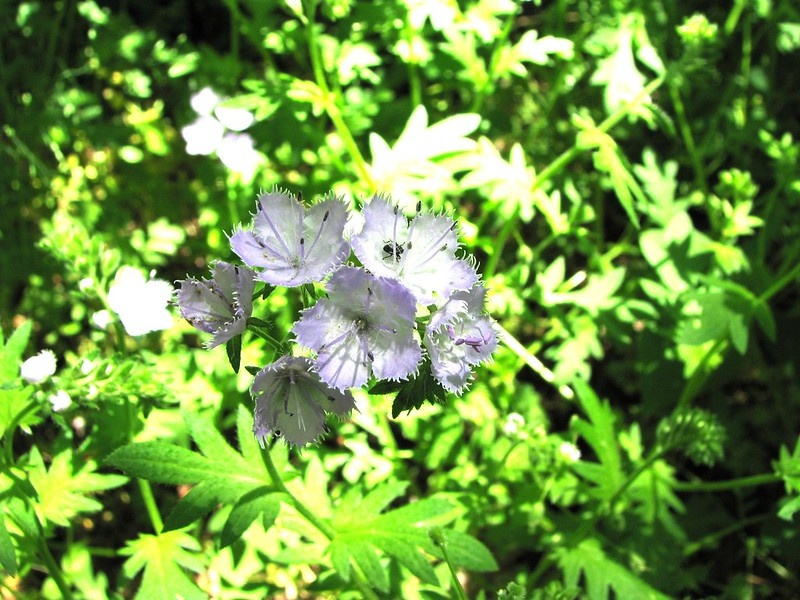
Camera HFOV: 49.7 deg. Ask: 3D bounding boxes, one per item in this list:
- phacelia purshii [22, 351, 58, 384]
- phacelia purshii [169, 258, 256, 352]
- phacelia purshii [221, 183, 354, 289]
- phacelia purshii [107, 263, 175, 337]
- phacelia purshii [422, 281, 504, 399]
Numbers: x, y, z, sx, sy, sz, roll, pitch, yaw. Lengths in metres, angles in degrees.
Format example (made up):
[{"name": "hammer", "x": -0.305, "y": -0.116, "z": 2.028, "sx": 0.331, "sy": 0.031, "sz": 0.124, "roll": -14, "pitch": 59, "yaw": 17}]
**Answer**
[{"name": "phacelia purshii", "x": -1.825, "y": 0.346, "z": 4.324, "sx": 0.156, "sy": 0.179, "sz": 0.144, "roll": 6, "pitch": 8, "yaw": -18}, {"name": "phacelia purshii", "x": -0.826, "y": 0.055, "z": 4.039, "sx": 0.334, "sy": 0.414, "sz": 0.232, "roll": 32, "pitch": 7, "yaw": 20}, {"name": "phacelia purshii", "x": -0.491, "y": -0.277, "z": 3.979, "sx": 0.448, "sy": 0.276, "sz": 0.479, "roll": -22, "pitch": 62, "yaw": -14}, {"name": "phacelia purshii", "x": -1.434, "y": 0.020, "z": 4.722, "sx": 0.335, "sy": 0.329, "sz": 0.165, "roll": 10, "pitch": 8, "yaw": 14}, {"name": "phacelia purshii", "x": 0.284, "y": 0.173, "z": 4.011, "sx": 0.338, "sy": 0.198, "sz": 0.347, "roll": -41, "pitch": 5, "yaw": -23}]
